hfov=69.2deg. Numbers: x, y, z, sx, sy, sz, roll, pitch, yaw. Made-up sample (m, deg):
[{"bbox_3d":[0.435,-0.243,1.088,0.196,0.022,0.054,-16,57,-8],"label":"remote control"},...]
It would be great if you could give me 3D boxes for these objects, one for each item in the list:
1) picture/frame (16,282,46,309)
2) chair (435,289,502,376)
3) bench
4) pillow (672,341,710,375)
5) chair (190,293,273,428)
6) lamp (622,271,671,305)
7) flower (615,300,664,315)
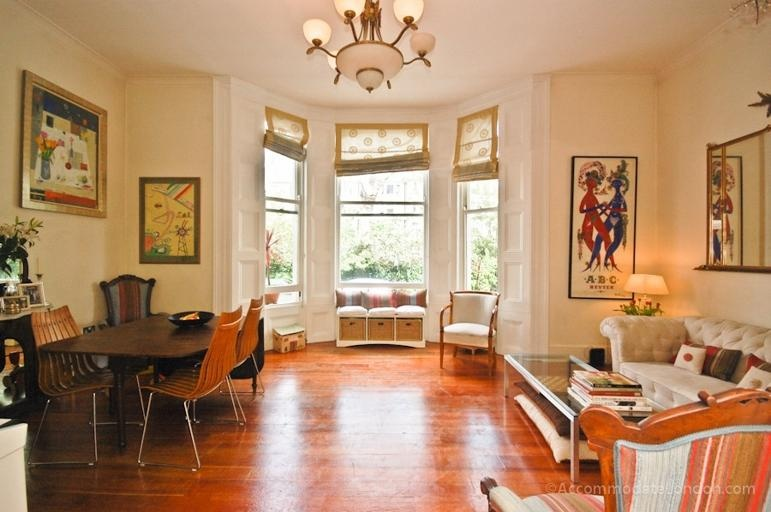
[{"bbox_3d":[-4.093,0.457,6.423,0.034,0.305,0.284,-14,-16,29],"label":"picture/frame"},{"bbox_3d":[1.209,1.024,8.063,0.824,0.979,1.253,2,8,11],"label":"chair"},{"bbox_3d":[-0.076,1.115,8.655,1.256,0.545,0.635,1,1,3],"label":"bench"},{"bbox_3d":[3.533,1.210,6.524,0.249,0.416,0.482,-3,-11,-27],"label":"pillow"},{"bbox_3d":[-1.668,1.063,6.569,1.026,1.474,1.054,3,-5,-15],"label":"chair"},{"bbox_3d":[3.514,0.420,7.474,0.417,0.474,0.455,0,-2,-33],"label":"lamp"},{"bbox_3d":[3.460,0.707,7.525,0.308,0.176,0.310,-6,-5,34],"label":"flower"}]
